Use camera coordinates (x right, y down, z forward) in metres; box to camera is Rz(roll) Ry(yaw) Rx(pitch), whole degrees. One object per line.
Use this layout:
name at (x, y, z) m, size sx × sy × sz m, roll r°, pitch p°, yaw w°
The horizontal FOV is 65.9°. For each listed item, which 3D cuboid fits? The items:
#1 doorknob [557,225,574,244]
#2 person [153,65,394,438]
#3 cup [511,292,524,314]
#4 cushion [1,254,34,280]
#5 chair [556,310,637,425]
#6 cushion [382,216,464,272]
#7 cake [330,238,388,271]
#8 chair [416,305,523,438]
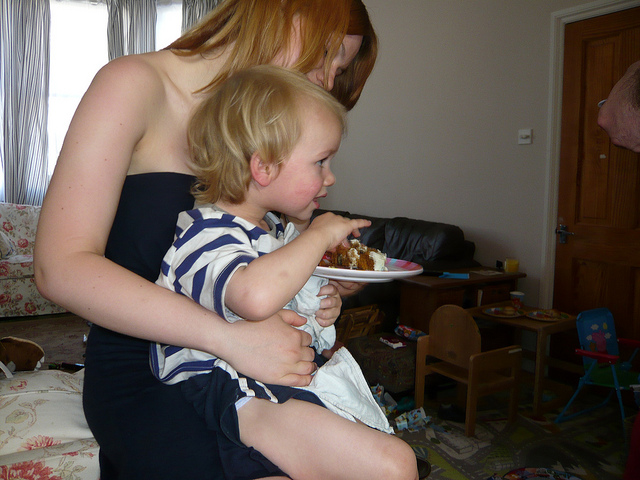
doorknob at (2.055, -0.045, 4.167) m, size 0.164 × 0.168 × 0.124 m, roll -1°, pitch -3°, yaw 45°
person at (-0.126, 0.026, 1.501) m, size 0.651 × 1.007 × 0.870 m, roll 4°, pitch 18°, yaw -8°
cup at (1.506, 0.480, 3.771) m, size 0.112 × 0.173 × 0.122 m, roll -1°, pitch -7°, yaw 0°
cushion at (-3.180, 0.288, 5.154) m, size 0.244 × 0.120 × 0.249 m, roll 2°, pitch 17°, yaw -8°
chair at (1.919, 0.886, 3.416) m, size 0.410 × 0.806 × 1.085 m, roll 6°, pitch 9°, yaw 33°
cushion at (0.899, 0.017, 4.594) m, size 0.637 × 0.363 × 0.914 m, roll -5°, pitch 10°, yaw -41°
cake at (0.135, 0.051, 1.666) m, size 0.183 × 0.101 × 0.291 m, roll 5°, pitch 8°, yaw 25°
chair at (1.010, 0.835, 3.394) m, size 0.599 × 0.802 × 0.446 m, roll -3°, pitch 9°, yaw -28°
